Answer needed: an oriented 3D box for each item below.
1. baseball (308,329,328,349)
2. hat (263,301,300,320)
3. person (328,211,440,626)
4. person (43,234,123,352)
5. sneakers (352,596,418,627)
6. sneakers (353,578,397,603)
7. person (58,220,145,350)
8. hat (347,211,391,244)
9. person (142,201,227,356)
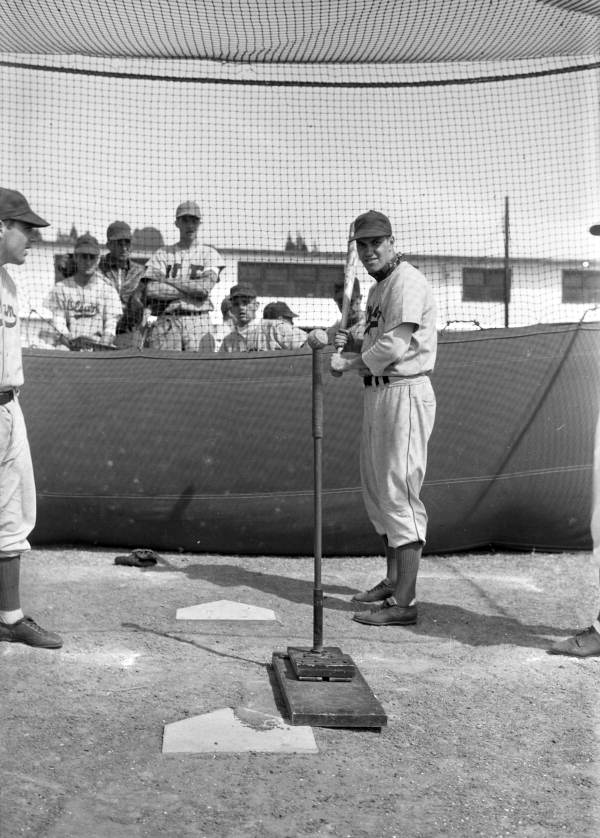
[{"bbox_3d":[0.071,-0.314,4.410,0.073,0.078,0.226,2,5,0],"label":"baseball"},{"bbox_3d":[-0.143,-0.746,7.701,0.184,0.108,0.114,-3,6,-3],"label":"hat"},{"bbox_3d":[0.389,-0.022,5.281,0.475,1.887,0.552,2,4,6],"label":"person"},{"bbox_3d":[-1.366,-0.796,7.199,0.443,0.737,0.396,1,9,-19],"label":"person"},{"bbox_3d":[0.397,0.881,5.174,0.294,0.135,0.119,2,-9,-1],"label":"sneakers"},{"bbox_3d":[0.381,0.836,5.518,0.258,0.110,0.087,0,8,-16],"label":"sneakers"},{"bbox_3d":[-1.358,-0.819,7.231,0.599,0.879,0.531,3,6,-4],"label":"person"},{"bbox_3d":[0.328,-0.886,5.175,0.118,0.104,0.174,1,6,20],"label":"hat"},{"bbox_3d":[-0.767,-0.952,7.389,0.517,0.965,0.486,1,4,-5],"label":"person"}]
